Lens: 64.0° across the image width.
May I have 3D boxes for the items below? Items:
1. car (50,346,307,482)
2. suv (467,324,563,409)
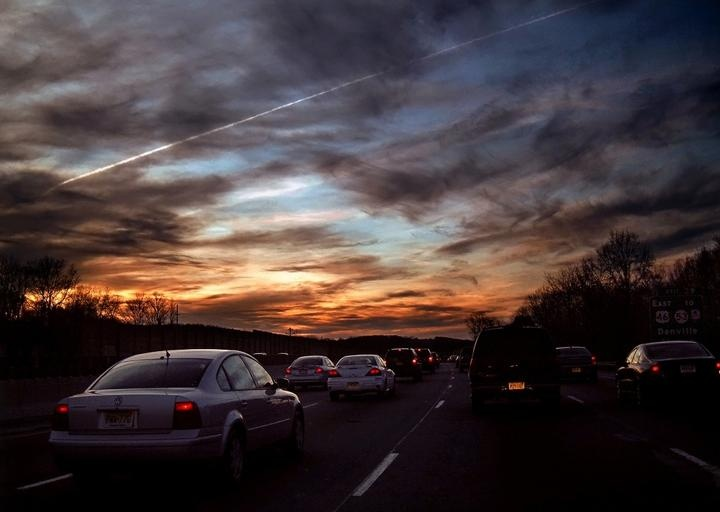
[{"bbox_3d":[-2.770,2.682,9.665,1.965,2.152,3.736,-10,-16,35],"label":"car"},{"bbox_3d":[4.792,3.544,18.656,1.995,1.685,3.551,-2,-6,10],"label":"suv"}]
